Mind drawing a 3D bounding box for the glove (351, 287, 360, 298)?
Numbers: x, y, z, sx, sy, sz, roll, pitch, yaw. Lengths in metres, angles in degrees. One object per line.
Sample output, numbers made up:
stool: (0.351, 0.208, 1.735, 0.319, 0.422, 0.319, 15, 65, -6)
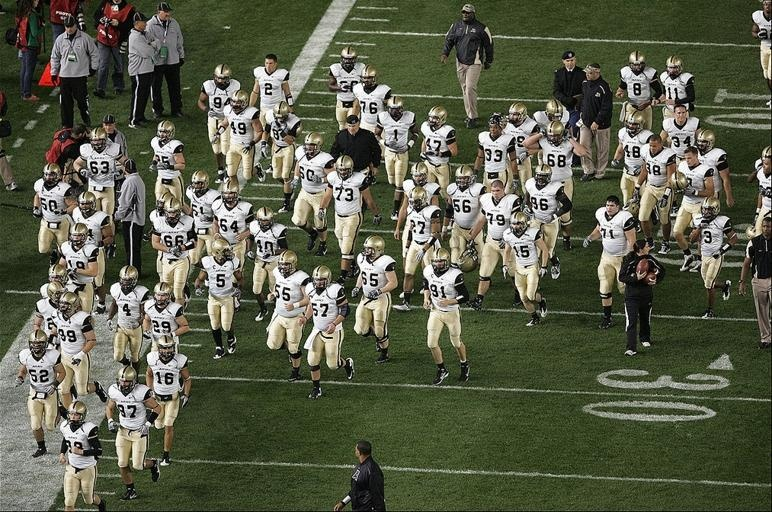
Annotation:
glove: (-0.538, 0.621, 19.972, 0.117, 0.064, 0.157, 34, -29, 2)

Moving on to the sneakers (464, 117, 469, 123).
sneakers: (1.696, -2.879, 24.914, 0.131, 0.063, 0.178, 0, 10, 5)

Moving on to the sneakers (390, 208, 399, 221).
sneakers: (0.145, -0.763, 22.125, 0.097, 0.114, 0.257, 3, 16, -6)

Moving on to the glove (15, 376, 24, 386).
glove: (-5.376, 1.831, 17.124, 0.134, 0.062, 0.168, 1, -17, -10)

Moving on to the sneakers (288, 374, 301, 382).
sneakers: (-1.437, 1.909, 18.364, 0.211, 0.139, 0.072, 2, 13, -2)

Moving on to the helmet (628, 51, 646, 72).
helmet: (4.875, -3.781, 22.965, 0.392, 0.394, 0.500, 0, 20, 8)

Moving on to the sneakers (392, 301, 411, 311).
sneakers: (0.281, 0.861, 20.050, 0.330, 0.158, 0.129, 5, 8, 24)

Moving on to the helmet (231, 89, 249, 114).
helmet: (-2.782, -2.885, 22.136, 0.316, 0.360, 0.421, 5, 42, 8)

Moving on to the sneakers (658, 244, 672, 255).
sneakers: (5.054, -0.120, 21.197, 0.111, 0.183, 0.297, 10, 19, 32)

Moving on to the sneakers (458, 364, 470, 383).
sneakers: (1.207, 1.823, 18.192, 0.134, 0.289, 0.282, 6, -13, 20)

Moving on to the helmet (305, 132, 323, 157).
helmet: (-1.300, -2.032, 20.772, 0.325, 0.397, 0.441, 7, 26, 18)

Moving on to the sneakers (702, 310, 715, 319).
sneakers: (5.387, 0.982, 19.594, 0.123, 0.136, 0.332, -1, -2, 17)

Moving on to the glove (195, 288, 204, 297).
glove: (-3.099, 0.619, 19.395, 0.156, 0.126, 0.384, -4, 4, -21)

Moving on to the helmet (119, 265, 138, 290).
helmet: (-3.961, 0.316, 18.038, 0.282, 0.312, 0.359, 4, 29, -3)

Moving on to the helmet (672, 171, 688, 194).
helmet: (5.077, -1.259, 20.139, 0.264, 0.319, 0.312, -4, 29, -36)

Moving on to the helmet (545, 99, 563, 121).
helmet: (3.079, -2.686, 21.617, 0.312, 0.335, 0.394, -10, 36, -15)

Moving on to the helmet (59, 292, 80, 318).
helmet: (-4.704, 0.722, 17.423, 0.316, 0.379, 0.237, -7, 7, -28)

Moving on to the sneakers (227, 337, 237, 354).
sneakers: (-2.494, 1.450, 18.936, 0.111, 0.290, 0.134, 2, 1, 2)

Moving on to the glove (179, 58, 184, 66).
glove: (-4.421, -4.133, 25.062, 0.055, 0.161, 0.176, 0, 3, 43)

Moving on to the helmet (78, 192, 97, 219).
helmet: (-5.028, -0.854, 19.653, 0.318, 0.403, 0.426, 2, 17, -1)

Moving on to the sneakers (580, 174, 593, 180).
sneakers: (3.975, -1.559, 23.333, 0.270, 0.178, 0.089, 3, 16, 3)

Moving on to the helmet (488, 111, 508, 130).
helmet: (1.983, -2.402, 21.039, 0.271, 0.307, 0.334, 10, -25, 15)

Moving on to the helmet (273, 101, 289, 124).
helmet: (-1.963, -2.728, 22.213, 0.333, 0.312, 0.366, 8, 42, -9)

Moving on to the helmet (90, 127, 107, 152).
helmet: (-5.056, -2.056, 20.669, 0.304, 0.318, 0.372, -1, 39, -3)

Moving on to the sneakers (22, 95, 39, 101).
sneakers: (-7.804, -3.441, 25.684, 0.255, 0.100, 0.137, -5, 37, -11)

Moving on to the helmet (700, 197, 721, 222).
helmet: (5.353, -0.788, 19.435, 0.260, 0.303, 0.366, 2, 8, 42)

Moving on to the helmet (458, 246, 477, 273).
helmet: (1.406, 0.061, 20.031, 0.355, 0.413, 0.334, 7, -9, -30)

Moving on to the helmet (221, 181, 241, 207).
helmet: (-2.590, -1.009, 19.491, 0.307, 0.353, 0.417, 1, 15, -1)

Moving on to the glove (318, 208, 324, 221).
glove: (-1.148, -0.733, 20.593, 0.080, 0.193, 0.091, 2, 29, -3)

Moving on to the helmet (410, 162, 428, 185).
helmet: (0.514, -1.375, 19.645, 0.283, 0.314, 0.379, 2, 25, 9)

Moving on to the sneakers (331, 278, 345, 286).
sneakers: (-0.807, 0.431, 19.820, 0.113, 0.130, 0.313, 9, -5, 27)

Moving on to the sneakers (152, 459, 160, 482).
sneakers: (-3.247, 3.006, 16.439, 0.105, 0.295, 0.129, -4, 13, -5)

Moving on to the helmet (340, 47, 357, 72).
helmet: (-0.750, -3.954, 23.523, 0.378, 0.413, 0.485, 2, 21, -1)

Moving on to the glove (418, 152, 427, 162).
glove: (0.704, -1.841, 21.671, 0.160, 0.077, 0.200, -3, -30, 25)

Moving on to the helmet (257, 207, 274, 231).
helmet: (-2.003, -0.655, 19.217, 0.265, 0.286, 0.357, -1, 21, -9)

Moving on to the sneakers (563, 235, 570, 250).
sneakers: (3.260, -0.223, 21.431, 0.112, 0.234, 0.248, -2, 20, 3)

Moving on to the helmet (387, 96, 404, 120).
helmet: (0.170, -2.764, 21.731, 0.300, 0.343, 0.406, 0, 27, 3)

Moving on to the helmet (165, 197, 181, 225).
helmet: (-3.462, -0.732, 19.306, 0.315, 0.401, 0.348, 3, -29, -10)

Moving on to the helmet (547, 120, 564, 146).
helmet: (2.957, -2.167, 20.802, 0.302, 0.377, 0.348, -2, -34, 26)

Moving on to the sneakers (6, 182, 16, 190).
sneakers: (-7.323, -1.350, 22.822, 0.125, 0.109, 0.233, -3, 2, -39)

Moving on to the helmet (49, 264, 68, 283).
helmet: (-5.133, 0.286, 18.241, 0.232, 0.268, 0.289, 11, 30, -6)

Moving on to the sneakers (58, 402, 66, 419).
sneakers: (-4.770, 2.276, 17.232, 0.101, 0.267, 0.384, -5, 7, -12)

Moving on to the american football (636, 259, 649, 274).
american football: (3.996, 0.155, 18.326, 0.172, 0.160, 0.219, 13, 38, 20)

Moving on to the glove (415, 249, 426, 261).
glove: (0.570, -0.007, 19.390, 0.126, 0.174, 0.062, 24, 13, -49)

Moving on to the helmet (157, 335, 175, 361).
helmet: (-3.132, 1.316, 16.658, 0.266, 0.320, 0.351, -1, 4, -13)

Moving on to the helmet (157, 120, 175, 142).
helmet: (-4.076, -2.285, 21.412, 0.355, 0.376, 0.461, 3, 20, 8)

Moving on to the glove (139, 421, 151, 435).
glove: (-3.344, 2.390, 16.326, 0.102, 0.203, 0.250, -1, 7, 19)

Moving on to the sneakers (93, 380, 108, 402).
sneakers: (-4.335, 2.054, 17.707, 0.132, 0.357, 0.154, -23, 15, 22)

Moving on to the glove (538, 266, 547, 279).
glove: (2.557, 0.271, 19.255, 0.137, 0.176, 0.064, -4, 26, -14)

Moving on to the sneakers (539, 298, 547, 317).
sneakers: (2.623, 0.870, 19.568, 0.119, 0.340, 0.158, 1, 2, 24)

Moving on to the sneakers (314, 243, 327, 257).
sneakers: (-1.191, -0.120, 21.223, 0.120, 0.134, 0.325, 8, 33, 13)

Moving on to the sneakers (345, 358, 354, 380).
sneakers: (-0.570, 1.759, 18.336, 0.116, 0.335, 0.148, -1, 16, 12)

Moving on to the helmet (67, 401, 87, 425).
helmet: (-4.216, 2.112, 15.942, 0.223, 0.269, 0.342, -5, 7, -12)

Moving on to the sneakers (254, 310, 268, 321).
sneakers: (-2.111, 0.979, 19.780, 0.116, 0.102, 0.251, 19, 44, 22)
